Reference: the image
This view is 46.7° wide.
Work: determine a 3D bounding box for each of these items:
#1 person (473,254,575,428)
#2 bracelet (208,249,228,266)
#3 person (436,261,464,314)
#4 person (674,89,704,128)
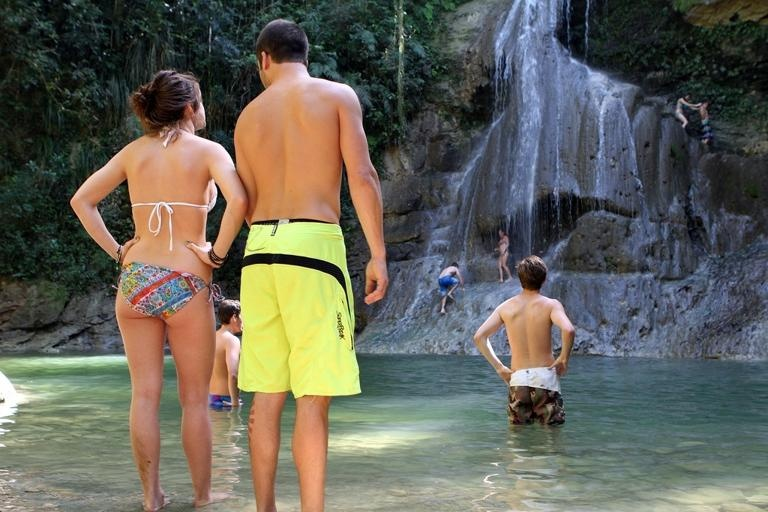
[{"bbox_3d":[1.911,1.551,11.918,1.172,3.006,0.784,-1,2,14],"label":"person"},{"bbox_3d":[-1.786,0.029,9.610,0.131,0.187,0.187,-28,41,14],"label":"bracelet"},{"bbox_3d":[1.579,0.752,20.775,0.556,1.079,1.055,-2,3,4],"label":"person"},{"bbox_3d":[8.354,-3.865,24.525,0.813,1.158,0.517,-1,-8,14],"label":"person"}]
